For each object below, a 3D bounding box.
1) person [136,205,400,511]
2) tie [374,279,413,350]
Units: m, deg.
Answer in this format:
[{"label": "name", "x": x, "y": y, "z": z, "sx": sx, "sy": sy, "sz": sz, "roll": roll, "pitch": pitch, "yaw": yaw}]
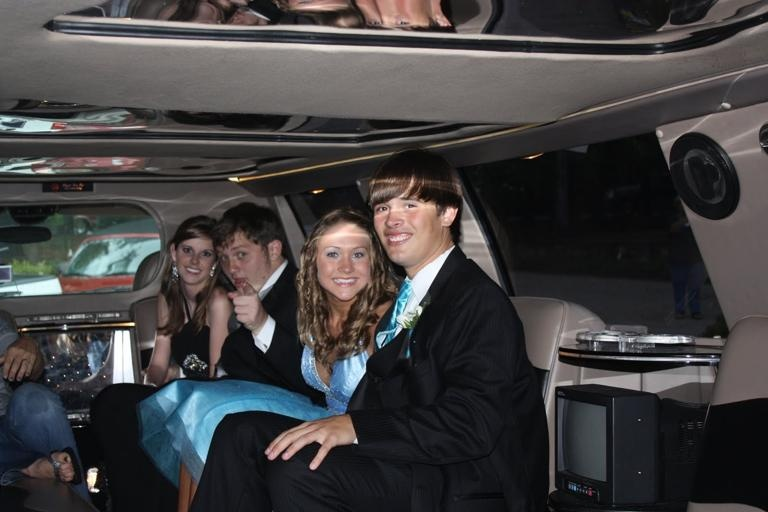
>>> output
[{"label": "person", "x": -0.594, "y": 0.594, "z": 2.929, "sx": 1.079, "sy": 1.684, "sz": 0.733, "roll": -8, "pitch": 19, "yaw": -27}, {"label": "tie", "x": 0.051, "y": 0.265, "z": 2.600, "sx": 0.069, "sy": 0.274, "sz": 0.218, "roll": 28, "pitch": -15, "yaw": 3}]
